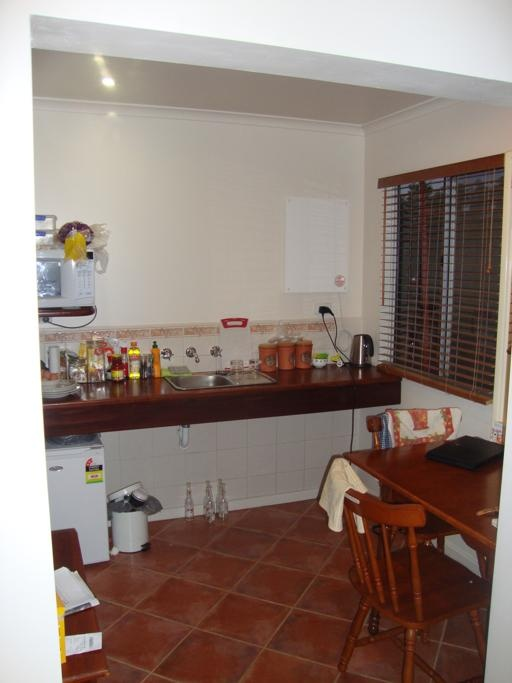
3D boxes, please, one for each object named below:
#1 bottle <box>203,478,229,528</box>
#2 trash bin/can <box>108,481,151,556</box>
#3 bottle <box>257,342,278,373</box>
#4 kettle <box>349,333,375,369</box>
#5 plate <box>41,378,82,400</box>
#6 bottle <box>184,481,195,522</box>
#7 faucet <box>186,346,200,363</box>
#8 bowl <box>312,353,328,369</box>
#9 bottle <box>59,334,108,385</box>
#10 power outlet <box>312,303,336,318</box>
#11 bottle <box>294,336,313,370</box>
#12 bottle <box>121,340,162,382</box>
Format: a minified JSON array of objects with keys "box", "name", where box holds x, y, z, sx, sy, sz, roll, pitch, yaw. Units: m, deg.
[{"box":[-0.260,1.042,3.504,0.178,0.230,0.198,-2,6,-10],"name":"bottle"},{"box":[-0.743,1.023,3.082,0.221,0.364,0.169,-3,7,-17],"name":"trash bin/can"},{"box":[0.078,0.100,3.651,0.169,0.232,0.173,-1,10,0],"name":"bottle"},{"box":[0.736,0.060,3.684,0.161,0.224,0.164,1,7,11],"name":"kettle"},{"box":[-1.072,0.258,2.918,0.191,0.062,0.363,-3,7,-20],"name":"plate"},{"box":[-0.442,1.043,3.484,0.049,0.210,0.089,-1,6,-3],"name":"bottle"},{"box":[-0.413,0.087,3.451,0.071,0.097,0.076,3,-38,-40],"name":"faucet"},{"box":[0.447,0.125,3.639,0.099,0.083,0.101,0,-3,0],"name":"bowl"},{"box":[-0.996,0.084,3.230,0.310,0.307,0.247,-3,8,-40],"name":"bottle"},{"box":[0.485,-0.221,3.738,0.104,0.087,0.101,1,10,0],"name":"power outlet"},{"box":[0.325,0.091,3.624,0.090,0.186,0.103,5,8,40],"name":"bottle"},{"box":[-0.693,0.117,3.269,0.260,0.264,0.188,0,1,-25],"name":"bottle"}]
